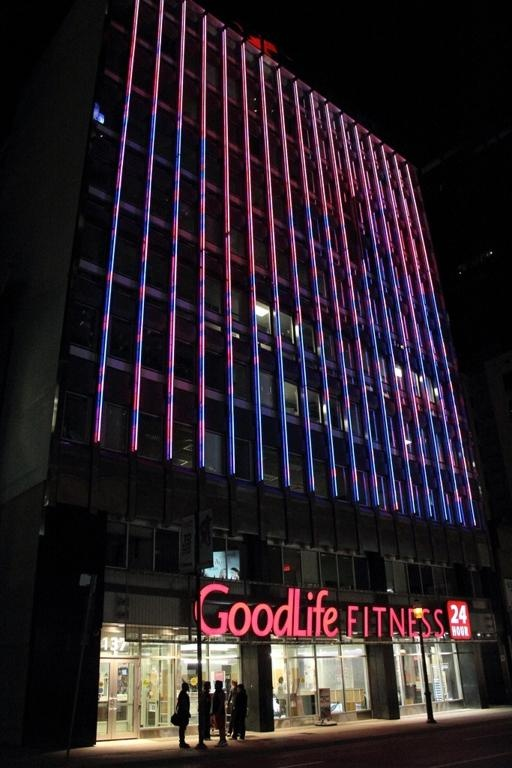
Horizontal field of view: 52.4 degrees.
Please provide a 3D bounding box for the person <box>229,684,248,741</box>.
[{"bbox_3d":[-0.618,11.188,17.721,0.546,1.655,1.160,0,-24,-3],"label":"person"}]

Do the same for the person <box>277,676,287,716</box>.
[{"bbox_3d":[1.115,13.116,21.770,0.148,1.418,0.700,-13,-25,27],"label":"person"}]
